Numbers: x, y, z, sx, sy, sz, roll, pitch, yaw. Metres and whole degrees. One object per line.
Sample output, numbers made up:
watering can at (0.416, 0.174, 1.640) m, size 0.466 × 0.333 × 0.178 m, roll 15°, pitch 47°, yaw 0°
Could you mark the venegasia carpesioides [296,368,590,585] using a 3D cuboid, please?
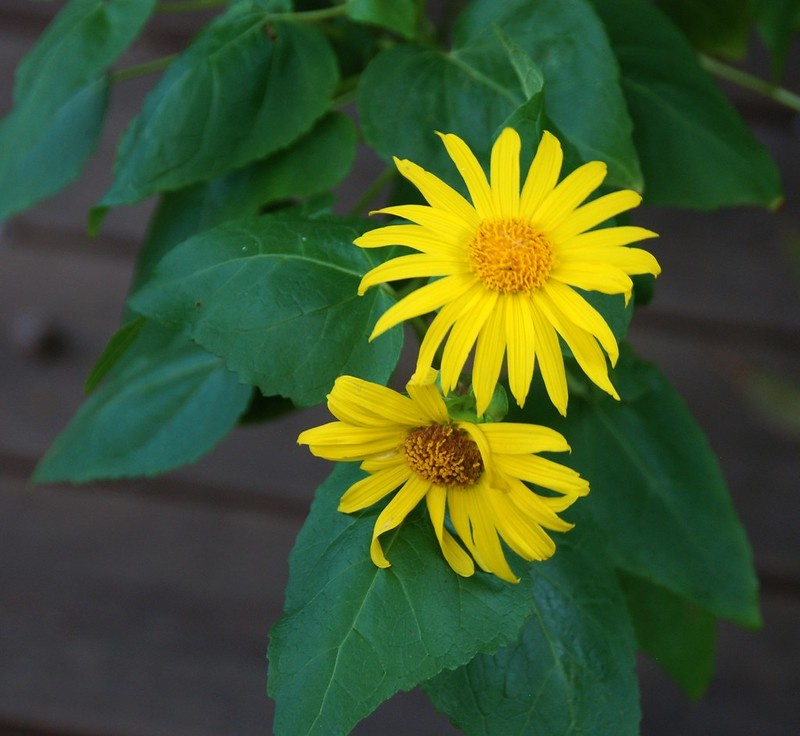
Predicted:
venegasia carpesioides at (0.020, 0.048, 0.533) m, size 0.174 × 0.154 × 0.053 m, roll -20°, pitch 10°, yaw 11°
